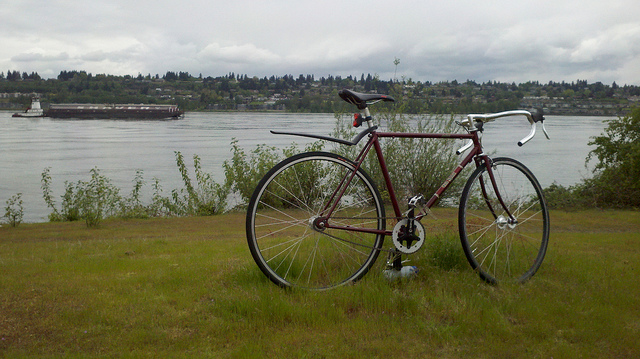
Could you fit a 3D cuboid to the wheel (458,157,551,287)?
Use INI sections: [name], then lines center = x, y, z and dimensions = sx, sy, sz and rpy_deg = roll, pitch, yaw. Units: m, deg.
[wheel]
center = 3.680, 0.798, 11.785
dimensions = 1.871, 2.442, 1.139
rpy_deg = -9, 13, -29
